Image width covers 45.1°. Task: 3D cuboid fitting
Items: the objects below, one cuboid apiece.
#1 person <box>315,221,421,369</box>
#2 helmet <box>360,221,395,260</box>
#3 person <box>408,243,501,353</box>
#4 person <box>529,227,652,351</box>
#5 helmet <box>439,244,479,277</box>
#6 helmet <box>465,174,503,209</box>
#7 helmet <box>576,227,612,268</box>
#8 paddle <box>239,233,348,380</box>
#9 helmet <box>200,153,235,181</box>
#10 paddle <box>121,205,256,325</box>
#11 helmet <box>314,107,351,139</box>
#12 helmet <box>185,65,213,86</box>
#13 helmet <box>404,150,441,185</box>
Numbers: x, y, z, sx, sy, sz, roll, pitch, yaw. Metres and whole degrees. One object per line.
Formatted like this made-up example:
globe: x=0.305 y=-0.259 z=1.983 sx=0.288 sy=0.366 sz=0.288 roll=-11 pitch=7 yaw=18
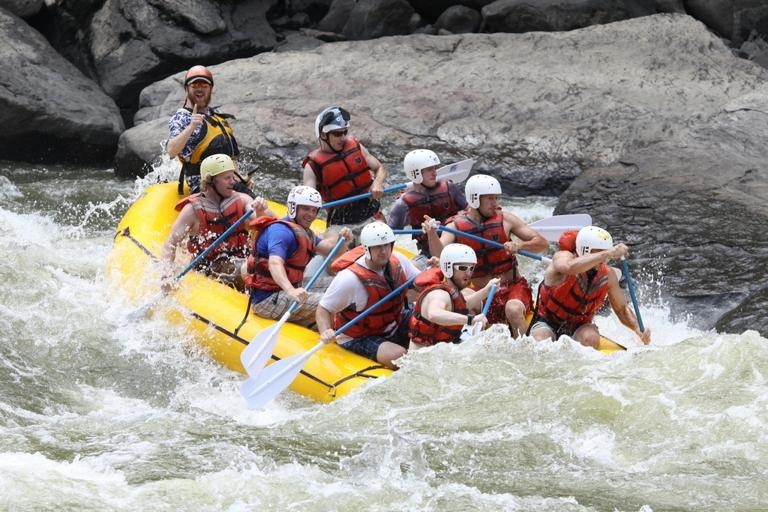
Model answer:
person: x=-0.153 y=0.439 z=9.182 sx=0.803 sy=1.084 sz=1.181 roll=19 pitch=27 yaw=37
helmet: x=-0.061 y=-0.194 z=8.993 sx=0.267 sy=0.301 sz=0.330 roll=-6 pitch=1 yaw=-36
person: x=0.699 y=0.433 z=8.906 sx=0.710 sy=1.053 sz=0.632 roll=3 pitch=22 yaw=-35
person: x=2.040 y=0.324 z=9.107 sx=0.962 sy=1.178 sz=0.559 roll=18 pitch=18 yaw=9
helmet: x=0.770 y=0.061 z=8.965 sx=0.373 sy=0.337 sz=0.466 roll=-8 pitch=10 yaw=-41
helmet: x=1.003 y=-0.671 z=9.628 sx=0.404 sy=0.307 sz=0.290 roll=2 pitch=10 yaw=27
helmet: x=2.039 y=-0.120 z=9.112 sx=0.349 sy=0.266 sz=0.254 roll=-31 pitch=-14 yaw=34
paddle: x=-0.912 y=0.547 z=9.265 sx=0.332 sy=1.917 sz=0.150 roll=44 pitch=-10 yaw=-4
helmet: x=-1.806 y=-0.991 z=10.116 sx=0.341 sy=0.194 sz=0.255 roll=3 pitch=5 yaw=17
paddle: x=-2.069 y=0.140 z=9.977 sx=0.290 sy=2.036 sz=0.138 roll=54 pitch=-13 yaw=-2
helmet: x=-0.578 y=-1.522 z=10.630 sx=0.333 sy=0.239 sz=0.394 roll=-8 pitch=1 yaw=-41
helmet: x=-2.180 y=-2.103 z=10.972 sx=0.246 sy=0.190 sz=0.340 roll=2 pitch=-23 yaw=-7
helmet: x=0.388 y=-1.014 z=10.389 sx=0.427 sy=0.310 sz=0.299 roll=-5 pitch=9 yaw=16
